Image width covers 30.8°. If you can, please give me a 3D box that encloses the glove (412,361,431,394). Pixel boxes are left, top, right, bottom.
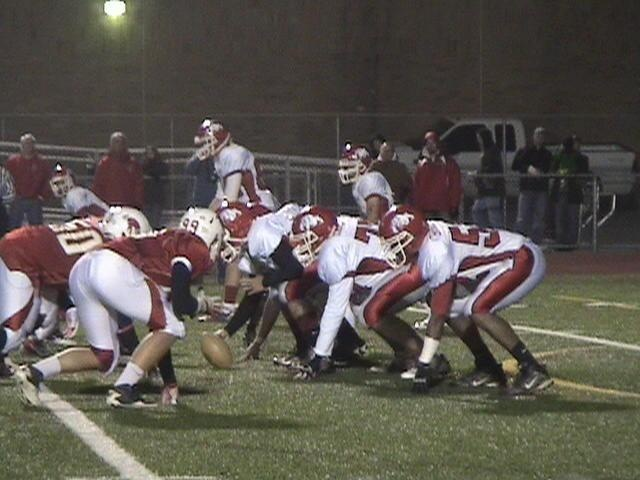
[{"bbox_3d":[0.793,1.060,8.922,0.132,0.232,0.097,14,-14,19],"label":"glove"}]

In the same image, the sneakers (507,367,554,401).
[{"bbox_3d":[1.596,1.095,8.815,0.406,0.208,0.169,-24,4,-20],"label":"sneakers"}]

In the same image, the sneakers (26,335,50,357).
[{"bbox_3d":[-2.436,0.924,9.945,0.120,0.106,0.274,0,-12,0],"label":"sneakers"}]

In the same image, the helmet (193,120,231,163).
[{"bbox_3d":[-0.995,-0.915,10.689,0.306,0.390,0.323,0,11,0],"label":"helmet"}]

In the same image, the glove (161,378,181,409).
[{"bbox_3d":[-1.144,1.163,8.714,0.160,0.241,0.137,3,-21,-15],"label":"glove"}]

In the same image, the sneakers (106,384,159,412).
[{"bbox_3d":[-1.427,1.161,8.552,0.448,0.218,0.154,4,2,-16],"label":"sneakers"}]

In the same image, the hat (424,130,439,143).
[{"bbox_3d":[1.276,-1.167,13.258,0.185,0.116,0.190,-7,13,-29],"label":"hat"}]

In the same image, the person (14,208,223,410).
[{"bbox_3d":[-1.433,0.501,8.618,1.420,1.470,0.502,-2,11,-7],"label":"person"}]

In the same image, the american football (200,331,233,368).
[{"bbox_3d":[-0.813,0.876,9.170,0.181,0.297,0.208,-43,-5,-26],"label":"american football"}]

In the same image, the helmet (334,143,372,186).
[{"bbox_3d":[0.315,-0.698,10.359,0.349,0.328,0.280,-12,16,-10],"label":"helmet"}]

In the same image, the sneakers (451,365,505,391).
[{"bbox_3d":[1.252,1.085,9.102,0.447,0.204,0.172,3,-8,-5],"label":"sneakers"}]

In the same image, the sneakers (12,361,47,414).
[{"bbox_3d":[-2.129,1.058,8.439,0.184,0.296,0.134,-4,11,-17],"label":"sneakers"}]

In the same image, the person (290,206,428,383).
[{"bbox_3d":[0.206,0.414,9.739,1.224,1.605,1.174,-2,-2,-1],"label":"person"}]

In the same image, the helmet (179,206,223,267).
[{"bbox_3d":[-0.865,-0.058,8.556,0.288,0.411,0.389,5,-4,-19],"label":"helmet"}]

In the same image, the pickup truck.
[{"bbox_3d":[3.228,-1.195,18.730,3.768,1.467,1.658,1,5,3],"label":"pickup truck"}]

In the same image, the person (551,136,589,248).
[{"bbox_3d":[3.451,-0.597,15.910,0.462,1.554,0.734,2,11,12],"label":"person"}]
